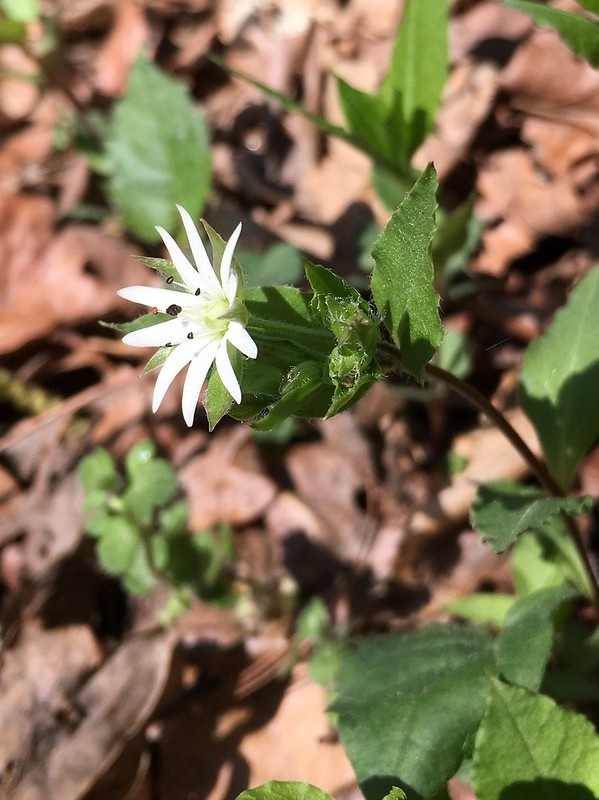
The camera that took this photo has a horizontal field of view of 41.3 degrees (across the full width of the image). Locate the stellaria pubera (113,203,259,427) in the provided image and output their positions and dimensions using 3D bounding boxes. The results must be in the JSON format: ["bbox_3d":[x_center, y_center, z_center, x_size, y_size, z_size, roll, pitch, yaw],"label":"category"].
[{"bbox_3d":[-0.131,-0.092,1.026,0.287,0.092,0.246,-1,87,16],"label":"stellaria pubera"}]
